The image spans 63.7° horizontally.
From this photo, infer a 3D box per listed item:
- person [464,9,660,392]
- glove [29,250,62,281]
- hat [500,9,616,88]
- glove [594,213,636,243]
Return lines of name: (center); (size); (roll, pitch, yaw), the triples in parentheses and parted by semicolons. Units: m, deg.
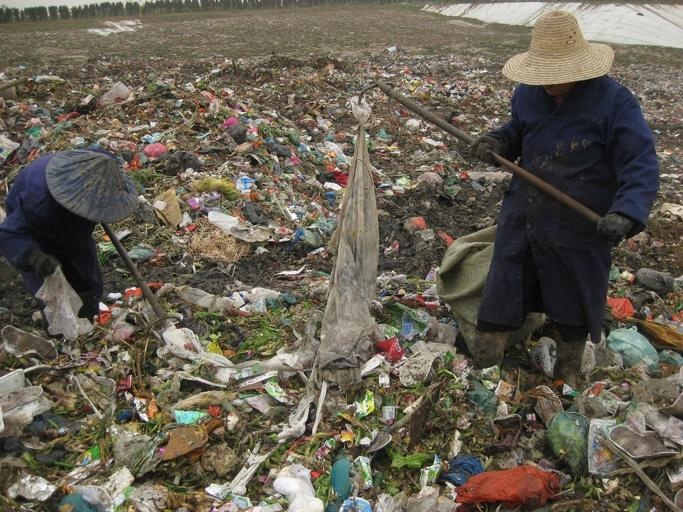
person: (1.595, -0.356, 4.134); (1.193, 2.759, 1.032); (1, 29, 4)
glove: (-2.326, 0.061, 4.256); (0.216, 0.188, 0.160); (18, 32, 34)
hat: (1.531, -1.553, 4.019); (0.860, 0.366, 0.803); (19, 37, 31)
glove: (1.880, -0.204, 3.762); (0.186, 0.150, 0.231); (35, 28, 3)
